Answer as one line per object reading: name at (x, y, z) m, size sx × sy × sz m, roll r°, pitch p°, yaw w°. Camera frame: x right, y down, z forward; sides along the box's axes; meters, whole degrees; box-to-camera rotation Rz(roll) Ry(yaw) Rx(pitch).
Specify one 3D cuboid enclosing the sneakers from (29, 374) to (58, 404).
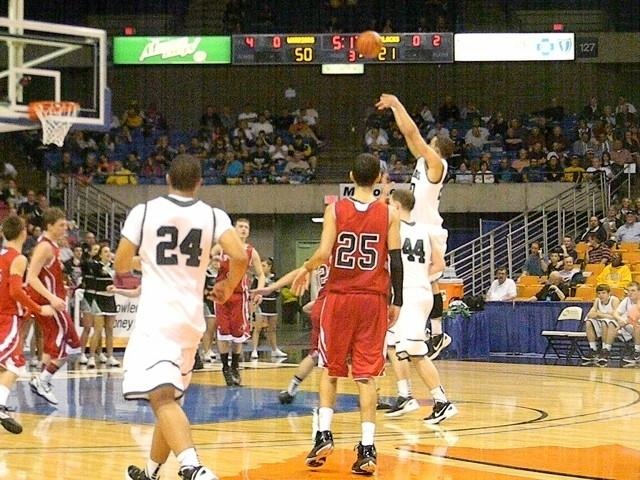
sneakers at (-4.243, 2.328, 16.449) m, size 0.193 × 0.434 × 0.142 m, roll -34°, pitch 19°, yaw 16°

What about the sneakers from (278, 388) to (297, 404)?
sneakers at (-0.487, 2.358, 16.044) m, size 0.212 × 0.107 × 0.175 m, roll -3°, pitch 16°, yaw -4°

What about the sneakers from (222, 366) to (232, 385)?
sneakers at (-1.479, 2.224, 17.421) m, size 0.109 × 0.343 × 0.149 m, roll -6°, pitch -42°, yaw -30°

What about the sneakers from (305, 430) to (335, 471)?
sneakers at (-0.003, 2.591, 13.200) m, size 0.210 × 0.275 × 0.592 m, roll 6°, pitch -47°, yaw -20°

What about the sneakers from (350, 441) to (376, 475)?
sneakers at (0.551, 2.709, 13.165) m, size 0.313 × 0.281 × 0.256 m, roll -2°, pitch -1°, yaw 19°

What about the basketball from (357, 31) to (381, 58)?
basketball at (0.867, -3.441, 18.746) m, size 0.376 × 0.343 × 0.477 m, roll -1°, pitch -1°, yaw -4°

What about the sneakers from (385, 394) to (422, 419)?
sneakers at (1.218, 2.400, 15.351) m, size 0.592 × 0.302 × 0.216 m, roll -22°, pitch -15°, yaw 30°
